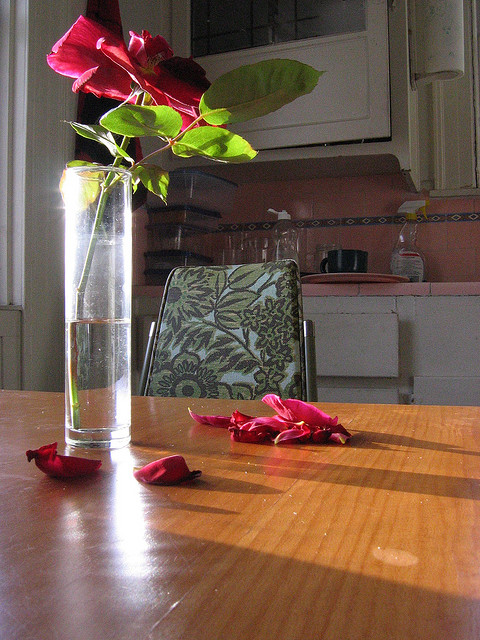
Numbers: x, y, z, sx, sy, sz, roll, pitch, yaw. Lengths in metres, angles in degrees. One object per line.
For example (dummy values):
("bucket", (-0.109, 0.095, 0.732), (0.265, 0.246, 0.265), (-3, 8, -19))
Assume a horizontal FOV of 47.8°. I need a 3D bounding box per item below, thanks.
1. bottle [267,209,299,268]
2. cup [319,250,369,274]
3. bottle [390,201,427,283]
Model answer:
("bottle", (0.177, -0.341, 2.179), (0.111, 0.242, 0.300), (-1, -1, 6))
("cup", (0.347, -0.192, 1.855), (0.142, 0.075, 0.101), (-1, -1, 14))
("bottle", (0.650, -0.299, 2.094), (0.125, 0.313, 0.246), (-1, -1, 20))
